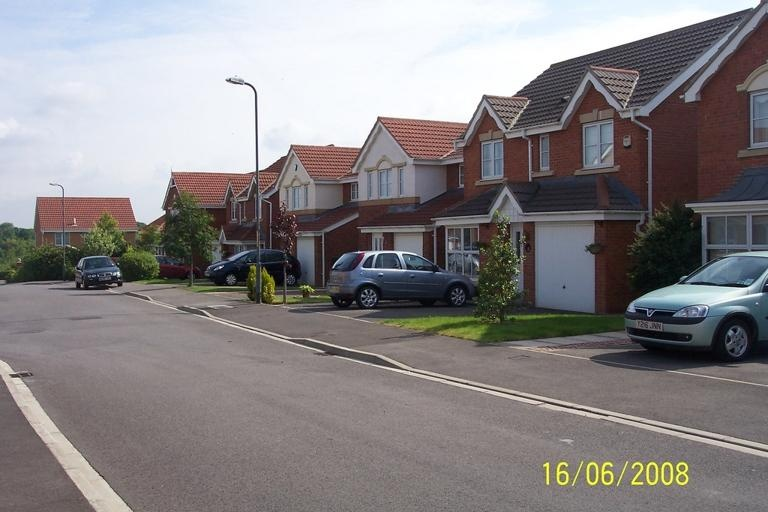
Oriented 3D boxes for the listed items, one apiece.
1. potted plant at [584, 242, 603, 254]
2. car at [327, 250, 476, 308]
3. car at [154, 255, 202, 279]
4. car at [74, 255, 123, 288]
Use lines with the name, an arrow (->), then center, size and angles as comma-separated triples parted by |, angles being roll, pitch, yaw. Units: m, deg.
potted plant -> 6.941, -0.270, 22.143 | 0.397, 0.318, 0.399 | 1, -3, -28
car -> 0.512, 0.944, 24.826 | 4.299, 1.726, 2.389 | -2, 1, -17
car -> -14.903, 0.814, 48.682 | 2.886, 1.397, 1.737 | -1, -1, -6
car -> -16.966, 0.977, 39.929 | 2.019, 1.866, 3.288 | -4, 5, -33
